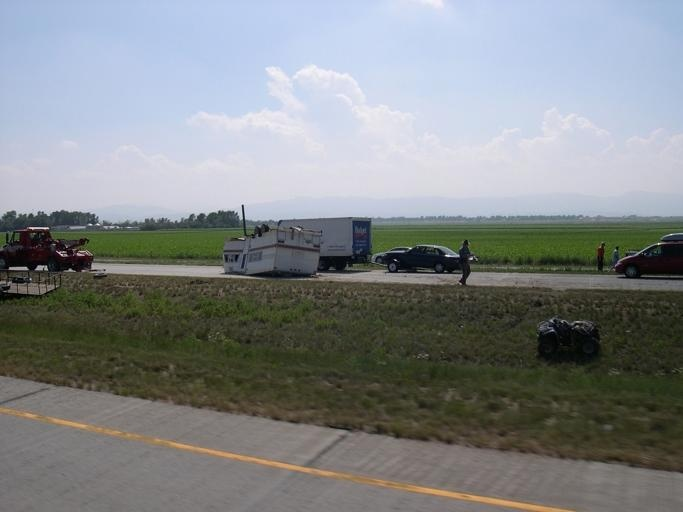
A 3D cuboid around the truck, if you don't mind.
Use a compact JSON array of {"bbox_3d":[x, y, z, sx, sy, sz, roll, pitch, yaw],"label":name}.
[{"bbox_3d":[-0.633,-0.827,37.145,5.352,3.160,2.783,1,1,38],"label":"truck"}]
